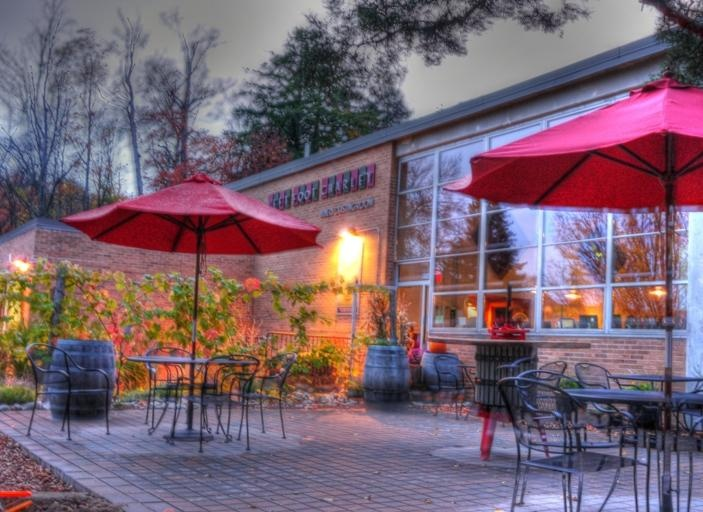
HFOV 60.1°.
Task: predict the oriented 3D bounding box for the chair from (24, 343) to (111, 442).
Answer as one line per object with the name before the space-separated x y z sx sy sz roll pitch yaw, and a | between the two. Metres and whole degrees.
chair | -3.657 1.622 8.174 0.802 1.007 0.701 9 -9 -42

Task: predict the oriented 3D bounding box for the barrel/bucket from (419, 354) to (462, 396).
barrel/bucket | 1.743 2.293 12.148 0.915 0.827 0.952 -1 -8 0

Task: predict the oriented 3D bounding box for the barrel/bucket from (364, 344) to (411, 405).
barrel/bucket | 0.693 2.264 11.793 0.944 0.982 0.964 0 -8 0

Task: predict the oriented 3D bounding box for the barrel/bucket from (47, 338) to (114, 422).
barrel/bucket | -3.465 1.597 8.143 1.082 1.183 1.039 1 -4 0

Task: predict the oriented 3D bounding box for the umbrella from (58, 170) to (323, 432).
umbrella | -1.918 0.132 7.332 2.734 2.105 2.203 0 -4 27

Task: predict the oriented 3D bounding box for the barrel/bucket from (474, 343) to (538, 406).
barrel/bucket | 1.740 1.380 7.196 0.719 0.741 0.746 0 -4 0
